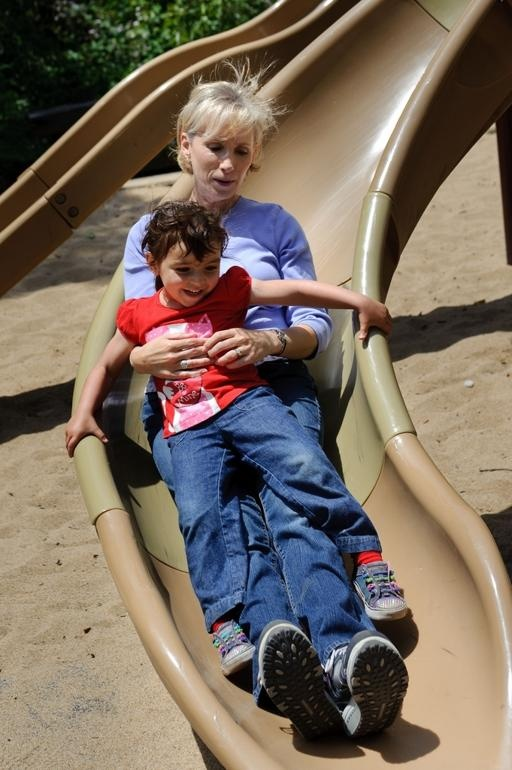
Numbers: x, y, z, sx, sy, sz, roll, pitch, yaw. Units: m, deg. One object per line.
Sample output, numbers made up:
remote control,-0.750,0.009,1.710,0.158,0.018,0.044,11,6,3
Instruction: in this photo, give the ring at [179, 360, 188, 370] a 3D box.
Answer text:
ring,-0.151,-0.039,1.531,0.014,0.020,0.021,2,72,8

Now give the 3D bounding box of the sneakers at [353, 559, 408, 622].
sneakers,0.216,0.368,1.282,0.055,0.057,0.145,-7,0,-8

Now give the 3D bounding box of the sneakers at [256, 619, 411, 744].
sneakers,0.124,0.430,1.124,0.163,0.225,0.084,1,42,7

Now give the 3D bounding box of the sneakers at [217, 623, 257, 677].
sneakers,-0.035,0.457,1.253,0.044,0.044,0.112,-32,4,-5

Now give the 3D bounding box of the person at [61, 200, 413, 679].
person,0.003,0.179,1.597,0.689,0.260,0.931,-14,60,0

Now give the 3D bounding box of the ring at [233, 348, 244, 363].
ring,-0.037,-0.062,1.522,0.018,0.021,0.019,-4,-4,0

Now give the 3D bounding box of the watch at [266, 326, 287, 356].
watch,0.050,-0.096,1.669,0.042,0.055,0.062,13,16,-12
